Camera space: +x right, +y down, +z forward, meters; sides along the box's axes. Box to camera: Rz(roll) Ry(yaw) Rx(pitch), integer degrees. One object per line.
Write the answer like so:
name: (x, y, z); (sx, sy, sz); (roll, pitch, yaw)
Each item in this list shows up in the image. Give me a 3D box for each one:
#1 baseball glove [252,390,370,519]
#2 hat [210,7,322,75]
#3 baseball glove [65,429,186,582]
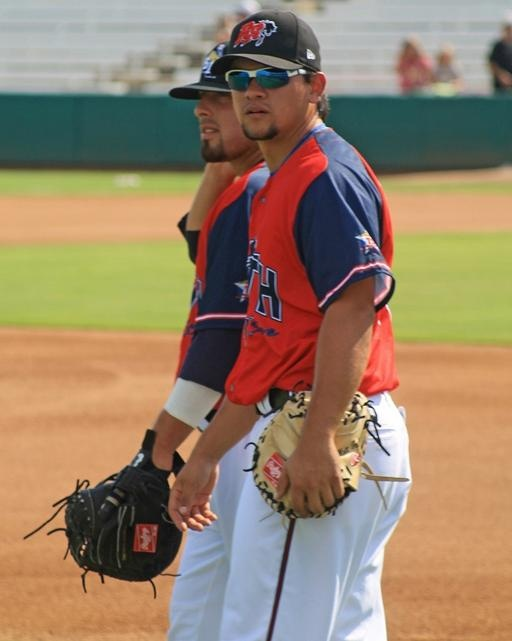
baseball glove: (0.138, 0.336, 2.711); (0.298, 0.300, 0.242); (4, 14, 12)
hat: (0.032, -0.736, 2.869); (0.258, 0.119, 0.184); (5, 1, -40)
baseball glove: (-0.395, 0.597, 3.165); (0.189, 0.467, 0.347); (40, -22, 10)
